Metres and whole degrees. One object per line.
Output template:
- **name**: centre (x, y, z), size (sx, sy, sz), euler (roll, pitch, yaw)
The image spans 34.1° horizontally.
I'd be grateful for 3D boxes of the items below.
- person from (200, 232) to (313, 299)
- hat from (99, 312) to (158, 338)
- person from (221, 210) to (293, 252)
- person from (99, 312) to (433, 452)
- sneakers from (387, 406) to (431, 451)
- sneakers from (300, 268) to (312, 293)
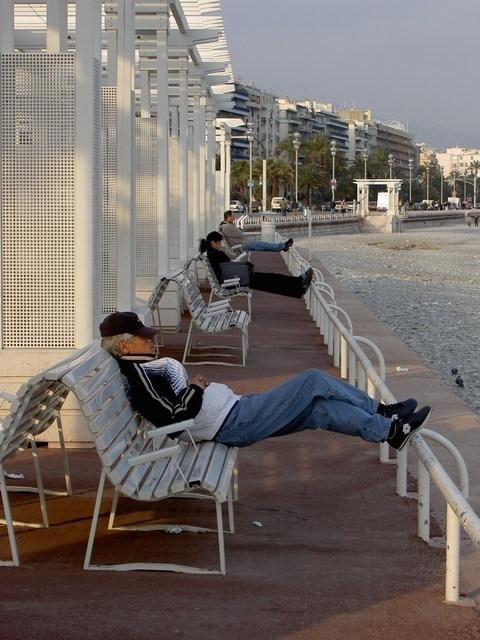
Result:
- **person**: centre (0.190, -0.594, 10.008), size (1.446, 0.517, 0.672), euler (6, 16, 0)
- **hat**: centre (-0.492, 0.014, 3.347), size (0.197, 0.089, 0.117), euler (-3, 11, -9)
- **person**: centre (0.229, -1.807, 16.108), size (1.717, 0.864, 0.576), euler (-4, 21, -35)
- **person**: centre (0.116, 0.270, 3.560), size (1.486, 0.578, 0.550), euler (2, 4, -5)
- **sneakers**: centre (0.727, 0.515, 3.496), size (0.074, 0.086, 0.240), euler (-49, -16, 33)
- **sneakers**: centre (0.841, -0.519, 10.184), size (0.121, 0.341, 0.153), euler (3, -13, 42)
